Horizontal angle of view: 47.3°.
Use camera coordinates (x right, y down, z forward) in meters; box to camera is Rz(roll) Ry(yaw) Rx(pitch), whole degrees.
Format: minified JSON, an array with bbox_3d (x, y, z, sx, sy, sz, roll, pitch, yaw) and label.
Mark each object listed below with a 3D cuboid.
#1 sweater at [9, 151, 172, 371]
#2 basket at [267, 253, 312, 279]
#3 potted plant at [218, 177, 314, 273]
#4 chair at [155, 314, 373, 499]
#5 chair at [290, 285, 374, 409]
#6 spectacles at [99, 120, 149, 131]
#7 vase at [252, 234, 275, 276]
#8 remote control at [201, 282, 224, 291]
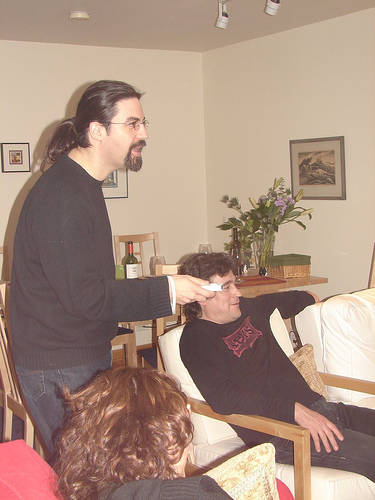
[{"bbox_3d":[-0.276,0.025,1.170,0.387,0.576,0.247,-5,7,-28],"label":"sweater"},{"bbox_3d":[0.823,0.123,3.483,0.264,0.138,0.188,-4,7,-26],"label":"basket"},{"bbox_3d":[0.642,-0.191,3.584,0.659,0.718,0.754,3,2,40],"label":"potted plant"},{"bbox_3d":[0.329,0.553,1.827,0.839,0.852,0.599,0,2,40],"label":"chair"},{"bbox_3d":[0.712,0.441,2.113,0.446,0.461,0.509,-4,-1,35],"label":"chair"},{"bbox_3d":[-0.157,-0.362,1.236,0.082,0.022,0.074,-1,8,0],"label":"spectacles"},{"bbox_3d":[0.688,0.044,3.646,0.254,0.357,0.236,1,-4,23],"label":"vase"},{"bbox_3d":[0.068,0.108,1.286,0.054,0.015,0.056,1,2,28],"label":"remote control"}]
